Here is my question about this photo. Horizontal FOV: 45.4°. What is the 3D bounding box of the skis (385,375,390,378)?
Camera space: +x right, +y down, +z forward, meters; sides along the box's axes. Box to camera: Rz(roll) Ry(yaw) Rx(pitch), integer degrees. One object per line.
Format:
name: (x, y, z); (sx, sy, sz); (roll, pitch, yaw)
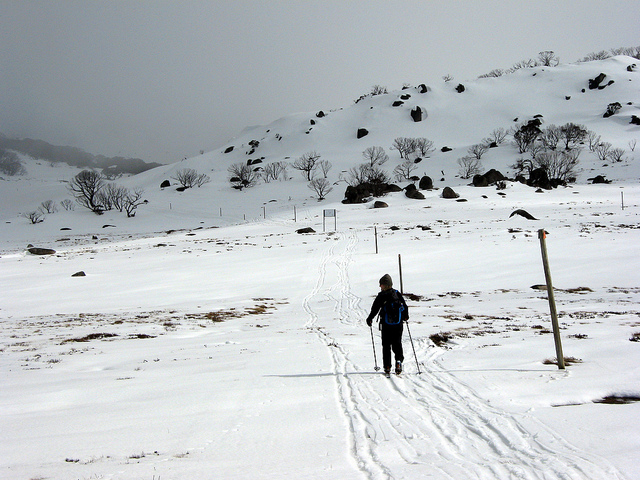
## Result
skis: (6.823, 13.739, 77.581); (0.332, 0.236, 0.181); (-4, 1, 4)
